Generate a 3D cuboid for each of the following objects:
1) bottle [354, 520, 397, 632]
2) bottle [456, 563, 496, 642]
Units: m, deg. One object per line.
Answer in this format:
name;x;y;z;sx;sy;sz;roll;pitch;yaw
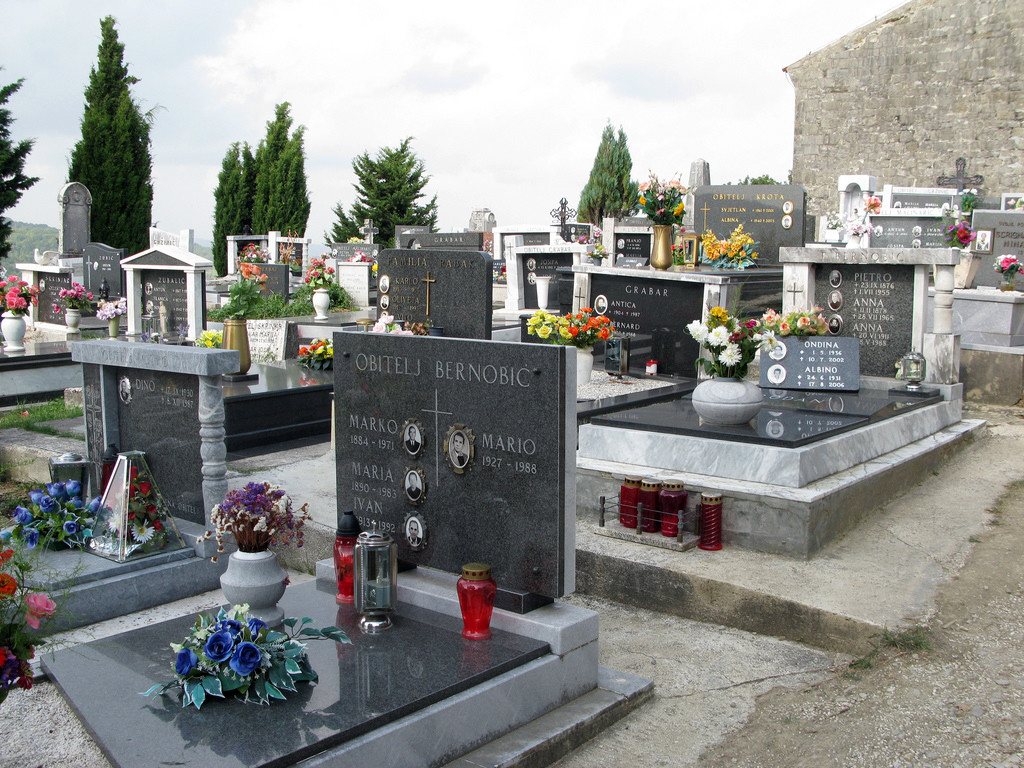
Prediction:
bottle;-0.677;0.986;4.208;0.202;0.428;0.280;-2;10;-12
bottle;-0.172;1.031;4.073;0.171;0.354;0.186;1;10;0
